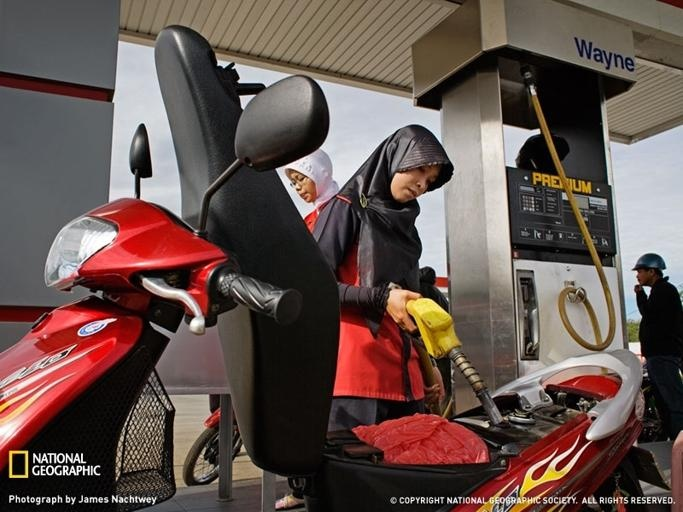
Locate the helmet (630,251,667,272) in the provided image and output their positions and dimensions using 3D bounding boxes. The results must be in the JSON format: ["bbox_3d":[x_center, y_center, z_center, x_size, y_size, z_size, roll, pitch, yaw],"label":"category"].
[{"bbox_3d":[3.636,0.098,5.812,0.310,0.197,0.229,6,-14,35],"label":"helmet"}]
